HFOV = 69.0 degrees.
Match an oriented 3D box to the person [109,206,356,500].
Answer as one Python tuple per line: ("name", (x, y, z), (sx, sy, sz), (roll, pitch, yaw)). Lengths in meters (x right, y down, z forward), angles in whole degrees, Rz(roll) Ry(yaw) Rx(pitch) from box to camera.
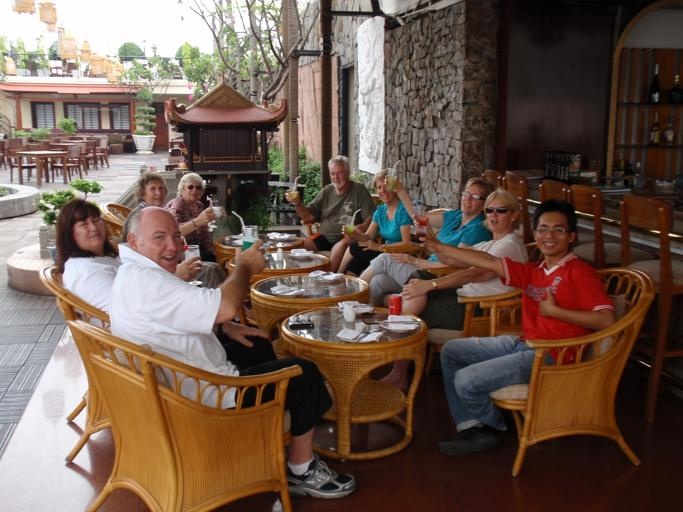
("person", (-0.575, 0.507, 2.454), (1.058, 1.388, 0.850), (-9, -2, -33))

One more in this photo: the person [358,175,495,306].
("person", (0.656, 0.064, 4.161), (0.984, 1.301, 0.616), (10, 2, 11))

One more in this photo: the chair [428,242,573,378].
("chair", (0.777, 0.250, 2.937), (0.836, 0.852, 0.700), (-1, 7, -1))

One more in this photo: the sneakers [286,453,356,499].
("sneakers", (-0.092, 1.090, 2.476), (0.414, 0.155, 0.150), (-1, 3, -2))

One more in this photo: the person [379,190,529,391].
("person", (0.705, 0.113, 3.621), (1.054, 1.493, 0.619), (-5, 28, -7))

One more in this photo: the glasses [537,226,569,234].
("glasses", (1.129, -0.135, 2.655), (0.140, 0.033, 0.039), (4, 15, 22))

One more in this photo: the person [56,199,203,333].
("person", (-1.098, 0.000, 2.885), (0.860, 0.640, 0.651), (8, 10, 28))

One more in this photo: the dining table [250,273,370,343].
("dining table", (-0.293, 0.297, 3.493), (0.616, 0.310, 0.597), (9, 17, 34))

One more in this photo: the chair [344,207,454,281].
("chair", (0.505, -0.089, 4.326), (0.549, 0.288, 0.639), (27, -43, -33))

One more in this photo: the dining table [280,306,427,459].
("dining table", (0.039, 0.722, 2.920), (0.921, 0.556, 0.833), (-6, 15, -23))

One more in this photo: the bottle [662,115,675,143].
("bottle", (4.155, -1.604, 6.288), (0.149, 0.363, 0.326), (8, 17, 31))

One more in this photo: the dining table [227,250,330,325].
("dining table", (-0.504, 0.133, 4.400), (0.801, 0.653, 0.742), (-8, 17, -29))

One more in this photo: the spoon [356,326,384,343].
("spoon", (0.166, 0.425, 2.693), (0.107, 0.019, 0.233), (2, 13, 15))

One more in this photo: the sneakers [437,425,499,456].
("sneakers", (0.726, 1.033, 2.836), (0.408, 0.128, 0.131), (-5, 9, -16))

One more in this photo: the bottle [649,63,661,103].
("bottle", (3.990, -2.174, 6.287), (0.142, 0.491, 0.262), (7, 18, 29))

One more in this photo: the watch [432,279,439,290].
("watch", (0.637, 0.194, 3.379), (0.050, 0.059, 0.067), (-4, 19, -7))

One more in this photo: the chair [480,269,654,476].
("chair", (0.993, 0.586, 3.017), (1.225, 1.052, 1.011), (-1, 4, 0))

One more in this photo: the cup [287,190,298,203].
("cup", (-0.511, -0.607, 5.168), (0.130, 0.080, 0.125), (0, 7, 0))
